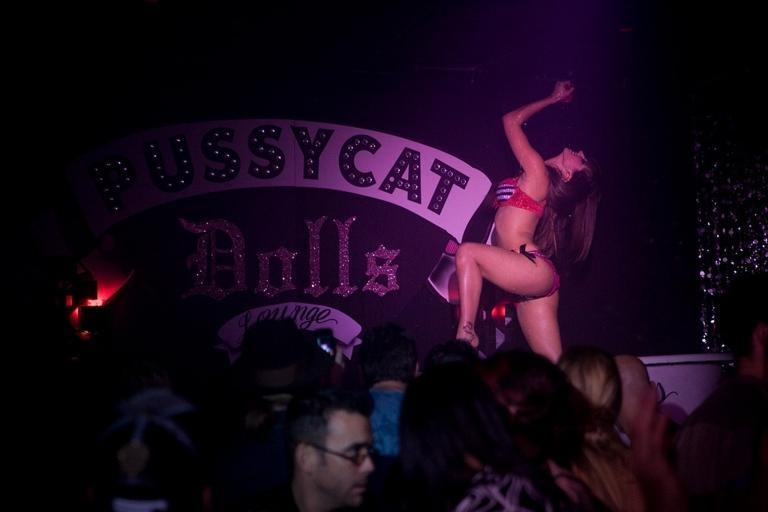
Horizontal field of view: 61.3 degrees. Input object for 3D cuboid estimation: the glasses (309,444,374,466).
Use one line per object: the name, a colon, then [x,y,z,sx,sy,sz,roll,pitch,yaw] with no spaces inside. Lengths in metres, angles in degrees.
glasses: [-0.256,1.132,3.710,0.353,0.129,0.040,-1,-3,-6]
